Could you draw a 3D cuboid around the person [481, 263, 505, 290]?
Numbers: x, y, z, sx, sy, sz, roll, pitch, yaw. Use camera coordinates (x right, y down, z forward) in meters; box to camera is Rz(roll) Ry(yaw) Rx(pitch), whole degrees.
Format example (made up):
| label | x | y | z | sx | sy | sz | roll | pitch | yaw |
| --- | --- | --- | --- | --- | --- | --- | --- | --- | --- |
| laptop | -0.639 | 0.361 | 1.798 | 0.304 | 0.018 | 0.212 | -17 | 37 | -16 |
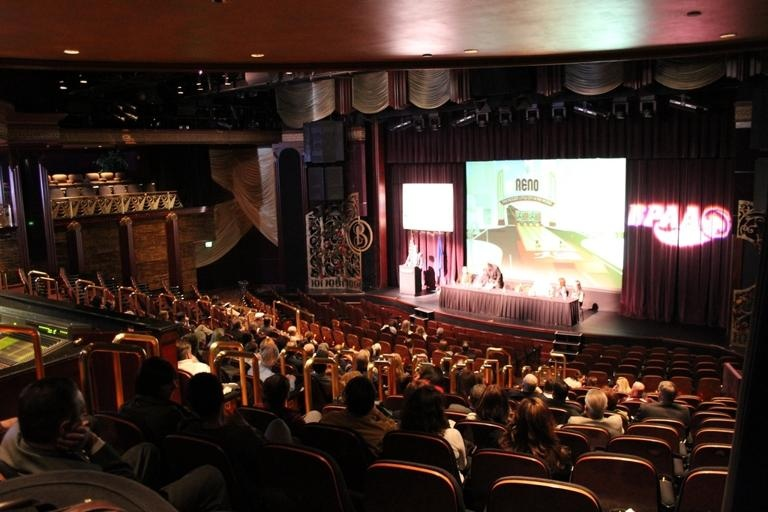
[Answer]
| label | x | y | z | sx | sy | sz | roll | pitch | yaw |
| --- | --- | --- | --- | --- | --- | --- | --- | --- | --- |
| person | 3.034 | 0.565 | 15.090 | 0.594 | 0.949 | 0.650 | 6 | -6 | -37 |
